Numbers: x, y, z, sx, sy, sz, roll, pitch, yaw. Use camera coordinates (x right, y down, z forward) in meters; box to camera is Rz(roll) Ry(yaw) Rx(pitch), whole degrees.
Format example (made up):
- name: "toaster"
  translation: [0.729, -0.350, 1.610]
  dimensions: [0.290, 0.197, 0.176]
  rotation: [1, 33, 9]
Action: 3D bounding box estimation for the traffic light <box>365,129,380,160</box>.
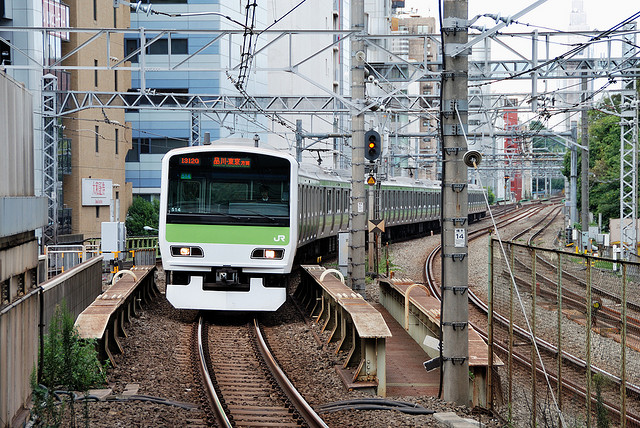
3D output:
- name: "traffic light"
  translation: [1.464, -2.015, 19.287]
  dimensions: [0.459, 0.893, 0.413]
  rotation: [0, 29, 7]
